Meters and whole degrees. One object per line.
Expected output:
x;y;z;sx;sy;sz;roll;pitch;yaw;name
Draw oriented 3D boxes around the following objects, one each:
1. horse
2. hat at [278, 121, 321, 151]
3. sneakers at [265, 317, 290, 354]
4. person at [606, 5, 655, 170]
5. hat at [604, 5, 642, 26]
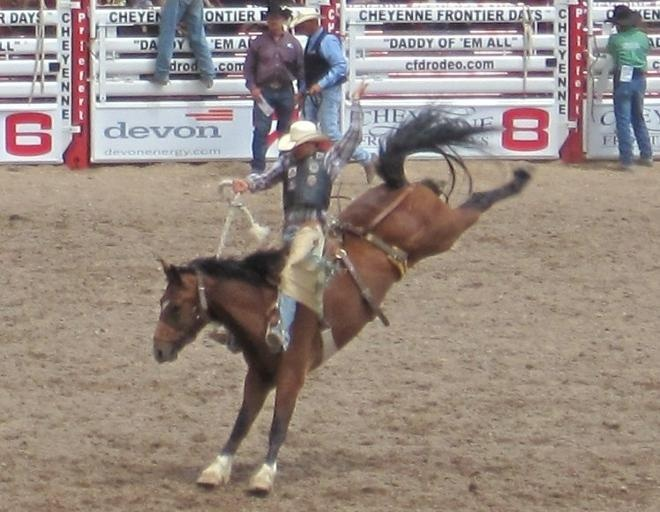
0.100;0.142;9.498;3.611;1.871;0.898;-34;24;-32;horse
-0.232;-0.989;9.423;0.244;0.129;0.295;-15;11;46;hat
-0.388;0.605;8.831;0.160;0.296;0.235;4;9;6;sneakers
3.750;-2.112;14.550;0.664;1.987;0.478;4;9;10;person
3.657;-2.998;14.559;0.434;0.251;0.306;6;9;22;hat
